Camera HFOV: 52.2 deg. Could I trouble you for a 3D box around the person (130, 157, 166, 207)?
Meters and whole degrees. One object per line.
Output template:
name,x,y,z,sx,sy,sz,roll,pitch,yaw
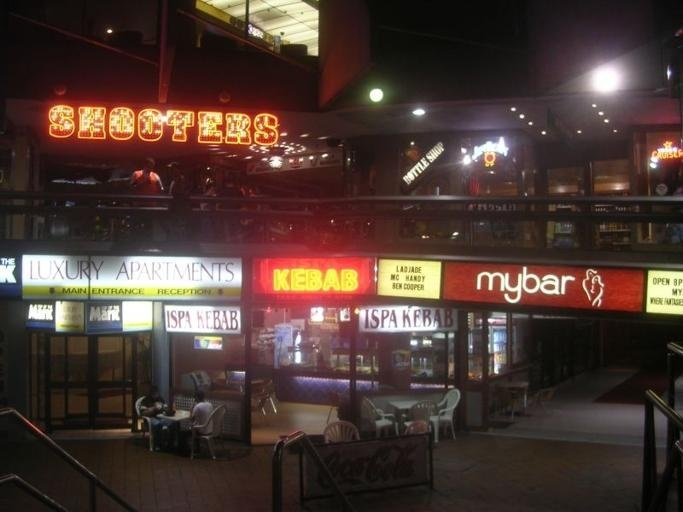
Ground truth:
person,-4.529,-1.692,16.226,0.714,1.260,1.279,0,-4,-17

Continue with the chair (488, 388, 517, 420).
chair,4.448,4.009,19.085,0.544,0.899,1.261,-4,-5,35

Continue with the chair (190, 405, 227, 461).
chair,-3.156,4.089,16.406,0.792,1.153,1.246,0,-4,-13

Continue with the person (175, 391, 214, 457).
person,-3.424,3.970,16.568,1.090,1.416,1.048,6,-14,-22
